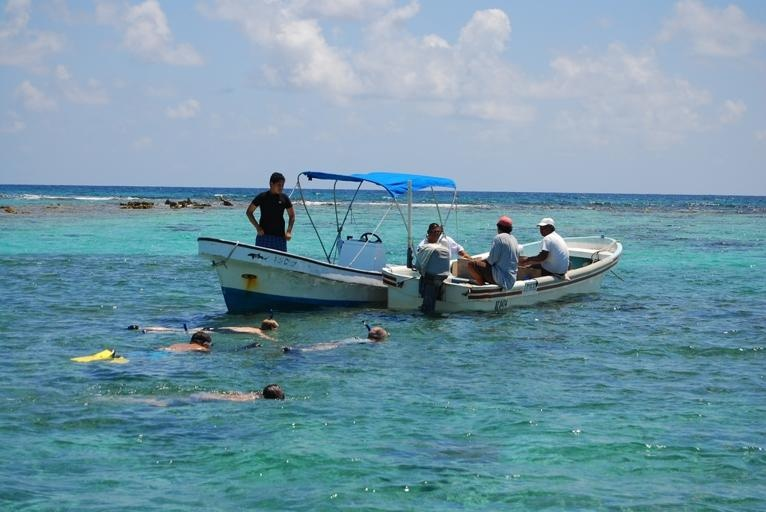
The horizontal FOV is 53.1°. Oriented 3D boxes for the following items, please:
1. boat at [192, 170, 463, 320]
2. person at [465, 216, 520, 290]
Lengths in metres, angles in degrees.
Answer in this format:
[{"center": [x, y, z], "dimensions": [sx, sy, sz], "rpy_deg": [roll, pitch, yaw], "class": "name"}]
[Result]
[{"center": [-1.024, -0.199, 19.528], "dimensions": [8.043, 2.784, 3.582], "rpy_deg": [-1, 5, -42], "class": "boat"}, {"center": [2.603, -0.044, 17.365], "dimensions": [0.711, 1.632, 0.821], "rpy_deg": [-2, 7, -28], "class": "person"}]
